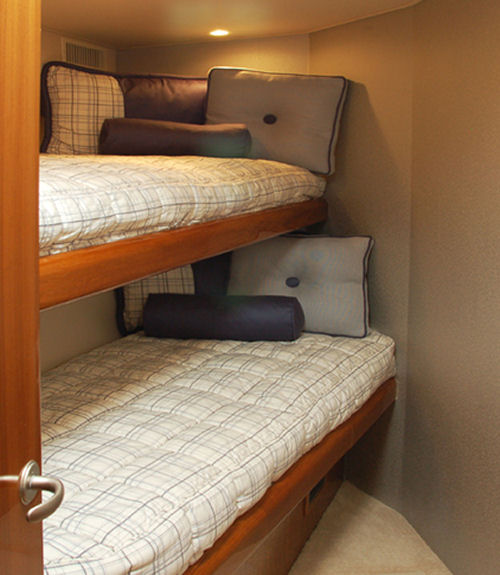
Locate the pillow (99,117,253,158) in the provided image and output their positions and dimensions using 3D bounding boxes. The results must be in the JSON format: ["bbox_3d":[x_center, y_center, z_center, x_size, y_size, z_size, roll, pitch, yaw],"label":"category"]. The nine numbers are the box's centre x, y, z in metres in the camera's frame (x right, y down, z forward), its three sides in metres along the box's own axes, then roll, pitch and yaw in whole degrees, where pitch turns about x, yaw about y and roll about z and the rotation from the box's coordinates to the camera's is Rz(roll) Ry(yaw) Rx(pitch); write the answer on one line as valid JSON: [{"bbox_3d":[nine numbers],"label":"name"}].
[{"bbox_3d":[-0.236,-0.470,1.603,0.465,0.119,0.082,-4,12,-12],"label":"pillow"}]
